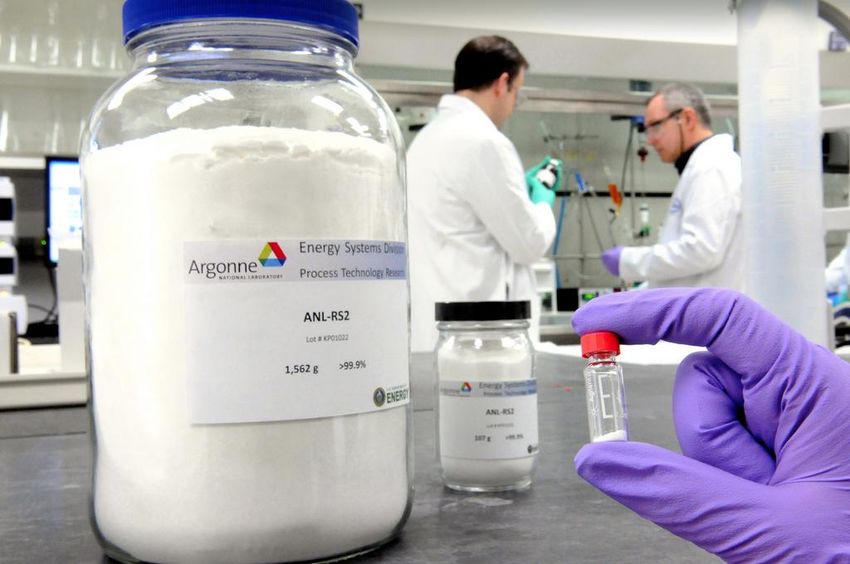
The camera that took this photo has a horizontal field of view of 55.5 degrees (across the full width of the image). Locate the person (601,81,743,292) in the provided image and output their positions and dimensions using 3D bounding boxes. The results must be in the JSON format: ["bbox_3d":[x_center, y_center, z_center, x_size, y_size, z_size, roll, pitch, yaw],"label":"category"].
[{"bbox_3d":[0.914,-0.349,2.817,0.424,0.759,0.458,-4,1,-31],"label":"person"}]
